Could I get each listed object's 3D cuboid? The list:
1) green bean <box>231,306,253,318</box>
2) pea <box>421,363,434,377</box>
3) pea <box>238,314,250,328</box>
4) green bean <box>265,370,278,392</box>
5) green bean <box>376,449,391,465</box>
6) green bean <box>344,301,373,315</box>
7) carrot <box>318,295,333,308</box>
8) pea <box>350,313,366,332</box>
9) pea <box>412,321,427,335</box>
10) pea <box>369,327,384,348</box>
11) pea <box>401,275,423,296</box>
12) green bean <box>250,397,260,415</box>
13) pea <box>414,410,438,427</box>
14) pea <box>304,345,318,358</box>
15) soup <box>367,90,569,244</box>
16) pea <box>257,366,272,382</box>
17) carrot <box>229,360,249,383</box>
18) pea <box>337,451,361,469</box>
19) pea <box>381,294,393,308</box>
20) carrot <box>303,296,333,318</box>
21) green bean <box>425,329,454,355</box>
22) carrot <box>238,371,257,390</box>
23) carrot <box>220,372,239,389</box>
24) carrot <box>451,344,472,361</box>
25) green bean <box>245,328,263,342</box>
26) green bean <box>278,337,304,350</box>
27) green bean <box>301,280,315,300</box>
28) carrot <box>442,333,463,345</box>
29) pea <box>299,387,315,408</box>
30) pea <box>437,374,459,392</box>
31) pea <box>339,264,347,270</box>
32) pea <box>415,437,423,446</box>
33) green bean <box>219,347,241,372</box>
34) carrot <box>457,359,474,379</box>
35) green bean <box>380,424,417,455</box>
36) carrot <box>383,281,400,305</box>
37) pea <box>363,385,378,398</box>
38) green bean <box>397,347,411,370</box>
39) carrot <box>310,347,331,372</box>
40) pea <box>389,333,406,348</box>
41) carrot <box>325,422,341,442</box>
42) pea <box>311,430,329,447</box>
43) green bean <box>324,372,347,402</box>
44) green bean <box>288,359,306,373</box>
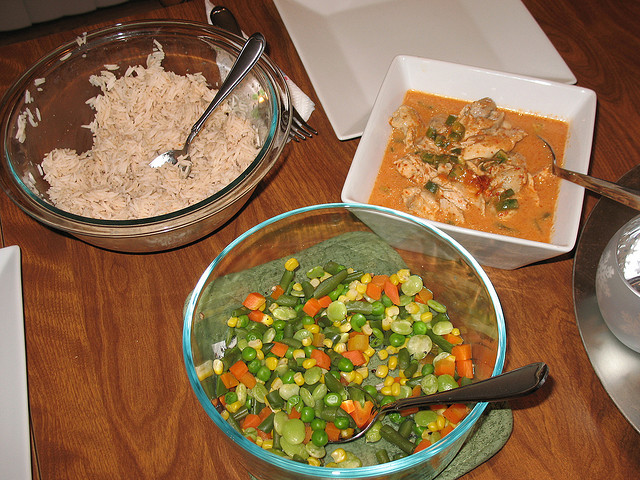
[{"bbox_3d":[-0.302,0.274,2.026,0.068,0.023,0.035,-17,52,-16],"label":"green bean"},{"bbox_3d":[0.385,0.467,1.908,0.037,0.029,0.032,-16,110,-37],"label":"pea"},{"bbox_3d":[-0.289,0.308,2.017,0.042,0.017,0.033,50,121,17],"label":"pea"},{"bbox_3d":[-0.178,0.519,1.952,0.034,0.015,0.069,16,75,47],"label":"green bean"},{"bbox_3d":[0.209,0.737,1.807,0.027,0.052,0.051,-6,52,-18],"label":"green bean"},{"bbox_3d":[0.149,0.255,2.002,0.087,0.031,0.052,4,78,4],"label":"green bean"},{"bbox_3d":[0.017,0.235,2.031,0.032,0.019,0.031,26,98,-9],"label":"carrot"},{"bbox_3d":[0.140,0.310,1.997,0.049,0.029,0.066,-18,87,1],"label":"pea"},{"bbox_3d":[0.369,0.329,1.974,0.043,0.045,0.049,5,92,16],"label":"pea"},{"bbox_3d":[0.214,0.366,1.991,0.054,0.023,0.064,9,94,27],"label":"pea"},{"bbox_3d":[0.348,0.175,2.009,0.057,0.039,0.077,31,83,24],"label":"pea"},{"bbox_3d":[-0.230,0.592,1.883,0.029,0.011,0.056,-1,71,-2],"label":"green bean"},{"bbox_3d":[0.369,0.614,1.816,0.057,0.034,0.050,-10,63,5],"label":"pea"},{"bbox_3d":[-0.035,0.410,2.006,0.036,0.045,0.041,-20,116,-11],"label":"pea"},{"bbox_3d":[0.653,-0.305,2.322,0.706,0.199,0.746,14,69,12],"label":"soup"},{"bbox_3d":[-0.204,0.488,1.931,0.041,0.043,0.050,0,93,-27],"label":"pea"},{"bbox_3d":[-0.296,0.475,1.917,0.058,0.027,0.059,43,76,13],"label":"carrot"},{"bbox_3d":[0.103,0.749,1.802,0.067,0.031,0.076,1,40,0],"label":"pea"},{"bbox_3d":[0.256,0.236,2.049,0.032,0.031,0.041,-40,62,-4],"label":"pea"},{"bbox_3d":[-0.010,0.245,2.022,0.077,0.083,0.062,-19,102,9],"label":"carrot"},{"bbox_3d":[0.436,0.370,1.985,0.035,0.033,0.153,-41,67,-4],"label":"green bean"},{"bbox_3d":[-0.260,0.508,1.911,0.040,0.017,0.058,-5,71,-9],"label":"carrot"},{"bbox_3d":[-0.325,0.505,1.910,0.049,0.030,0.068,-40,76,-13],"label":"carrot"},{"bbox_3d":[0.504,0.401,1.875,0.051,0.057,0.056,2,78,2],"label":"carrot"},{"bbox_3d":[-0.249,0.355,1.981,0.040,0.040,0.045,-33,96,8],"label":"green bean"},{"bbox_3d":[-0.104,0.390,2.000,0.070,0.025,0.040,20,71,11],"label":"green bean"},{"bbox_3d":[-0.052,0.192,2.024,0.038,0.020,0.065,-22,76,7],"label":"green bean"},{"bbox_3d":[0.487,0.365,1.945,0.060,0.046,0.039,26,85,6],"label":"carrot"},{"bbox_3d":[-0.046,0.564,1.887,0.033,0.023,0.069,-28,69,1],"label":"pea"},{"bbox_3d":[0.438,0.497,1.836,0.043,0.064,0.053,-7,110,-5],"label":"pea"},{"bbox_3d":[0.090,0.108,2.073,0.018,0.019,0.016,-5,109,-21],"label":"pea"},{"bbox_3d":[0.342,0.699,1.843,0.012,0.024,0.026,19,94,5],"label":"pea"},{"bbox_3d":[-0.331,0.435,1.944,0.030,0.036,0.131,31,44,1],"label":"green bean"},{"bbox_3d":[0.514,0.459,1.877,0.052,0.044,0.064,-1,70,-1],"label":"carrot"},{"bbox_3d":[0.264,0.683,1.863,0.053,0.058,0.178,-36,64,-20],"label":"green bean"},{"bbox_3d":[0.273,0.199,2.031,0.050,0.028,0.087,-36,76,30],"label":"carrot"},{"bbox_3d":[0.182,0.546,1.919,0.041,0.037,0.025,30,61,9],"label":"pea"},{"bbox_3d":[0.306,0.439,1.955,0.034,0.028,0.080,-2,47,12],"label":"green bean"},{"bbox_3d":[0.002,0.439,1.947,0.086,0.039,0.051,41,90,6],"label":"carrot"},{"bbox_3d":[0.286,0.372,1.959,0.049,0.040,0.044,6,72,-10],"label":"pea"},{"bbox_3d":[0.045,0.668,1.872,0.047,0.059,0.061,-3,39,-1],"label":"carrot"},{"bbox_3d":[0.000,0.684,1.824,0.058,0.039,0.056,2,70,0],"label":"pea"},{"bbox_3d":[0.058,0.522,1.905,0.048,0.032,0.097,-24,63,-22],"label":"green bean"},{"bbox_3d":[-0.088,0.466,1.953,0.066,0.022,0.033,37,83,4],"label":"green bean"}]
